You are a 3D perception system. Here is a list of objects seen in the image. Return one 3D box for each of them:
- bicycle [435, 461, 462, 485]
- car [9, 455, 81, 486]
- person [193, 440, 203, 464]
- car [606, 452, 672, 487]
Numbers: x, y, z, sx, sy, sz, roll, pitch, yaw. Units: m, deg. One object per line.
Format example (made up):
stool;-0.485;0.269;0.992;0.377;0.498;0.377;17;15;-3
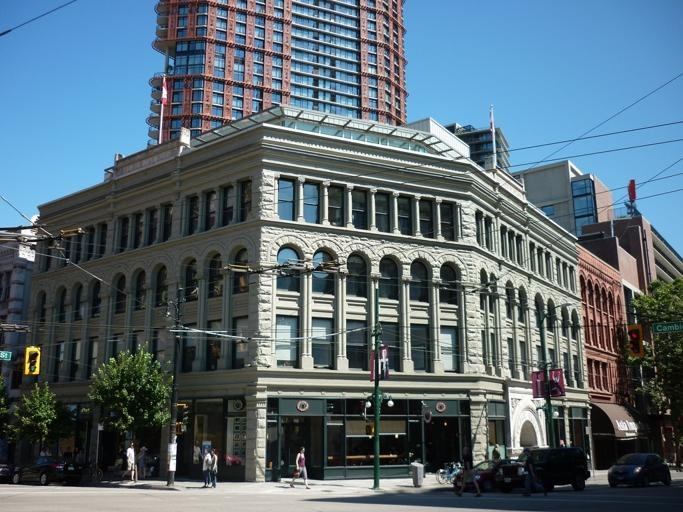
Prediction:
bicycle;6.774;13.576;43.929;2.158;1.127;1.026;2;-11;-13
car;-18.741;13.379;44.135;4.390;1.249;1.896;-8;-25;24
person;-9.464;12.649;45.571;0.472;1.424;1.222;5;-23;-14
car;18.242;12.737;42.318;4.115;2.068;1.948;12;-25;-31
